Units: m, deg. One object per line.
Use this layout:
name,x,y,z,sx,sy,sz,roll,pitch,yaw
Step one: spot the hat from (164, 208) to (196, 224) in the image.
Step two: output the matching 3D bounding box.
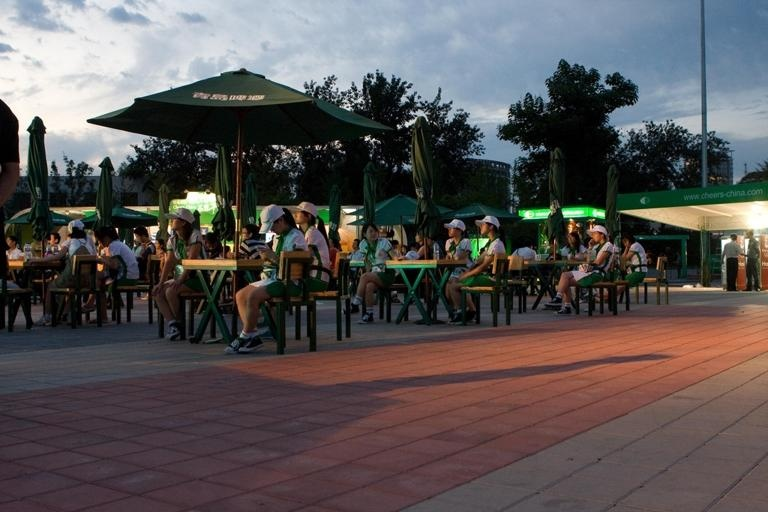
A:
hat,-2.900,-0.576,10.247,0.333,0.118,0.206,8,0,-15

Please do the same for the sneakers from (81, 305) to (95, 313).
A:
sneakers,-5.276,0.931,12.786,0.130,0.131,0.313,-1,-9,-4

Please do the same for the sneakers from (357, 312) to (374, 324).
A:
sneakers,-0.301,1.114,12.751,0.122,0.153,0.369,-3,-12,24

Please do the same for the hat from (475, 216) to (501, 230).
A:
hat,1.883,-0.642,12.900,0.460,0.243,0.294,5,-6,1

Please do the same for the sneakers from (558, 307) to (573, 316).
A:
sneakers,3.532,1.080,13.971,0.303,0.176,0.117,2,-3,10

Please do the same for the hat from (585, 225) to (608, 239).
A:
hat,4.326,-0.508,14.536,0.363,0.203,0.257,21,-2,-4

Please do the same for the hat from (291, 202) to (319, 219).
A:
hat,-1.093,-0.633,9.838,0.287,0.109,0.199,12,1,-3

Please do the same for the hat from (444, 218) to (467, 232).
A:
hat,1.303,-0.556,12.967,0.381,0.204,0.236,6,-3,-9

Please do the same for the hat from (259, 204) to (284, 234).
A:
hat,-1.450,-0.480,9.158,0.316,0.364,0.287,-2,0,37

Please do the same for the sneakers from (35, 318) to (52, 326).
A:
sneakers,-5.997,1.154,12.593,0.147,0.155,0.390,3,-6,-44
